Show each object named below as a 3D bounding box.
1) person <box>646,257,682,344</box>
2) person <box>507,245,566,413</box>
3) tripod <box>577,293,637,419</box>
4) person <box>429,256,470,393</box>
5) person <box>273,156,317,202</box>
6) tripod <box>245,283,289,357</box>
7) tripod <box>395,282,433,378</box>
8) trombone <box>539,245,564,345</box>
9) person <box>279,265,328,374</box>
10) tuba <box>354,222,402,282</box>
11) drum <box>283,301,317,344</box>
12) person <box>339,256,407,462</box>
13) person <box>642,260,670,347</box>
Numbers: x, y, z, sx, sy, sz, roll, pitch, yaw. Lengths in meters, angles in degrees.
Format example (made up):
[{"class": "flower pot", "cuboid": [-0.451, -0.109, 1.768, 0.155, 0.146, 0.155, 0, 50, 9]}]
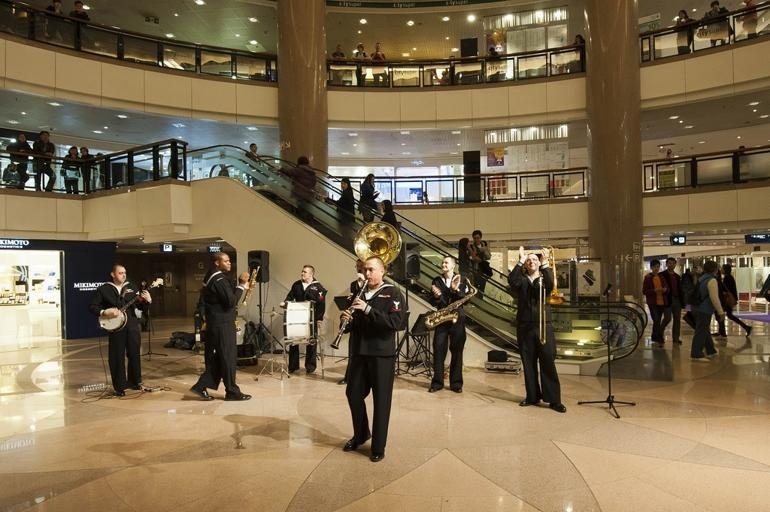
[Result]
[{"class": "person", "cuboid": [7.912, 1.230, 17.542, 0.895, 2.708, 0.826, 4, 5, 3]}, {"class": "person", "cuboid": [3.053, 1.480, 12.320, 0.987, 3.101, 1.147, 0, -15, 11]}, {"class": "tripod", "cuboid": [4.650, 2.205, 12.449, 0.977, 2.641, 1.017, 6, 7, 11]}, {"class": "person", "cuboid": [1.398, 1.464, 13.482, 0.877, 2.861, 0.716, 4, 1, 3]}, {"class": "person", "cuboid": [-2.484, -2.177, 17.918, 1.041, 1.347, 1.312, -1, 1, 32]}, {"class": "tripod", "cuboid": [-3.338, 1.670, 16.987, 1.069, 2.475, 0.887, 1, 3, -22]}, {"class": "tripod", "cuboid": [0.714, 1.830, 14.907, 0.805, 2.054, 0.899, 2, 5, 22]}, {"class": "trombone", "cuboid": [3.377, 0.647, 12.291, 0.534, 2.239, 0.466, 1, -6, 5]}, {"class": "person", "cuboid": [-1.844, 1.512, 14.477, 1.020, 2.430, 1.222, 0, 0, 15]}, {"class": "tuba", "cuboid": [-0.151, -0.163, 13.812, 0.828, 1.091, 0.781, 2, -1, 8]}, {"class": "drum", "cuboid": [-1.980, 1.617, 14.181, 0.743, 1.114, 1.097, 0, -1, 0]}, {"class": "person", "cuboid": [-0.152, 1.720, 10.887, 1.241, 3.254, 1.152, 0, 0, -45]}, {"class": "person", "cuboid": [7.635, 1.321, 17.308, 0.593, 2.381, 0.719, -4, 12, -18]}]
